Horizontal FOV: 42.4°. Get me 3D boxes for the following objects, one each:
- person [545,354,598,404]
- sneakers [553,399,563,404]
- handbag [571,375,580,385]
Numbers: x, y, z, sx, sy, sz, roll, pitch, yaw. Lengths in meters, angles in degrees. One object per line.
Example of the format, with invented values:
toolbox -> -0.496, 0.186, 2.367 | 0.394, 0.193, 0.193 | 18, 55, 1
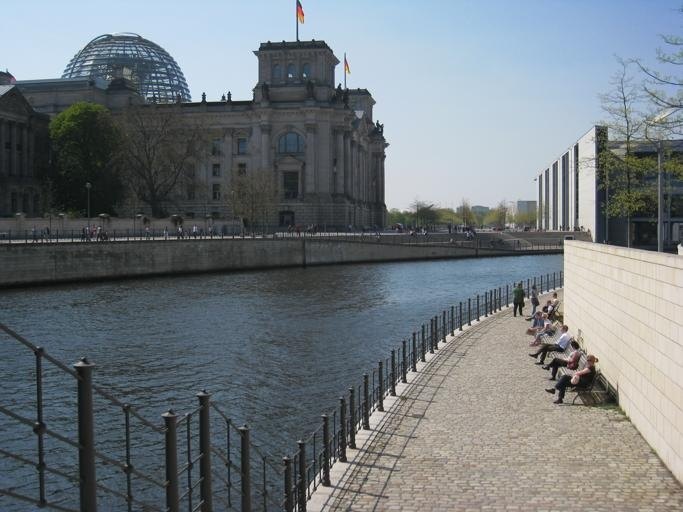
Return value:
person -> 7.044, 3.689, 26.831 | 1.323, 1.392, 1.195 | 0, 5, 14
sneakers -> 6.492, 4.367, 26.492 | 0.272, 0.122, 0.257 | 0, 4, 13
handbag -> 7.021, 3.732, 26.586 | 0.192, 0.271, 0.075 | 3, -7, 37
